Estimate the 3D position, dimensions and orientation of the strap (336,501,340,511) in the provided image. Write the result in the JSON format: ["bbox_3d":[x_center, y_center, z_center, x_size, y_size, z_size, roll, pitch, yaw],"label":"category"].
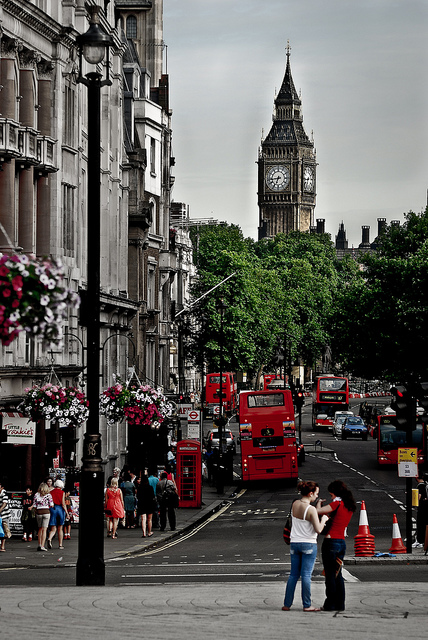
[{"bbox_3d":[1.481,2.226,18.282,0.034,0.094,0.086,-2,-4,25],"label":"strap"}]

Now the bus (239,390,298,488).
[{"bbox_3d":[1.764,3.744,50.032,1.832,2.881,1.069,-1,-4,2],"label":"bus"}]

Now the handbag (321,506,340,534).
[{"bbox_3d":[1.392,2.399,18.322,0.096,0.301,0.205,21,-2,12],"label":"handbag"}]

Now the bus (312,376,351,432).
[{"bbox_3d":[7.143,5.198,94.547,1.975,3.400,3.076,0,-4,-3],"label":"bus"}]

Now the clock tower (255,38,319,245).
[{"bbox_3d":[11.544,-27.135,246.582,10.152,28.808,6.575,2,-4,-37],"label":"clock tower"}]

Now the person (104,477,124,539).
[{"bbox_3d":[-2.167,4.044,32.964,0.391,1.313,1.403,0,-4,-4],"label":"person"}]

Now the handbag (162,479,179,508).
[{"bbox_3d":[-1.059,4.102,36.008,0.335,0.611,0.561,0,-4,-1],"label":"handbag"}]

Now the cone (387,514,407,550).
[{"bbox_3d":[3.343,3.904,27.921,0.319,0.605,0.759,-1,-4,7],"label":"cone"}]

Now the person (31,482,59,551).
[{"bbox_3d":[-3.312,3.862,30.171,0.473,1.283,1.080,0,-4,-6],"label":"person"}]

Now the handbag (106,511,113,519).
[{"bbox_3d":[-2.271,4.181,33.034,0.133,0.166,0.036,26,35,35],"label":"handbag"}]

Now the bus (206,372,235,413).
[{"bbox_3d":[0.270,4.560,100.777,1.296,2.340,4.129,0,-3,6],"label":"bus"}]
